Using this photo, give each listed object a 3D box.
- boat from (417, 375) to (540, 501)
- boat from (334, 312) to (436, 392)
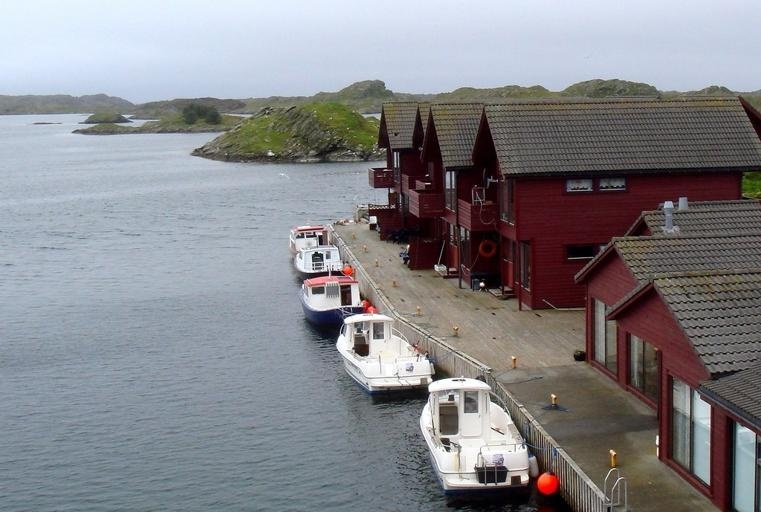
[{"bbox_3d":[3.763,7.142,32.874,2.679,2.312,5.642,-3,17,-5],"label":"boat"},{"bbox_3d":[0.294,4.784,40.969,3.165,2.901,4.885,-8,16,-23],"label":"boat"}]
